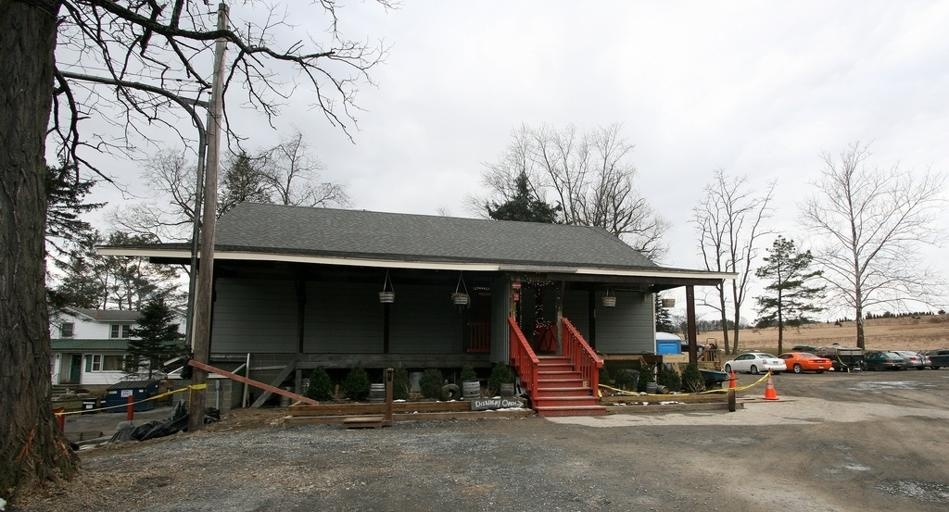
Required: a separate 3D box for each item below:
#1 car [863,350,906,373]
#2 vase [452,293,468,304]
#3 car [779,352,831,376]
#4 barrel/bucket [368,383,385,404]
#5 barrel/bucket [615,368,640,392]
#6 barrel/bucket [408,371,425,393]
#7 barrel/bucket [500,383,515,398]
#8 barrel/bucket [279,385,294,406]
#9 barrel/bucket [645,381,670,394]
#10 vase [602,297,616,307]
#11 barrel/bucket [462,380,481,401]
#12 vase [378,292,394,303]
[{"bbox_3d":[23.474,6.138,36.716,1.147,0.669,2.357,-2,-1,8],"label":"car"},{"bbox_3d":[-0.468,1.518,22.443,0.561,0.326,0.397,3,-4,-45],"label":"vase"},{"bbox_3d":[18.304,6.009,35.742,1.260,0.656,2.432,0,-4,-5],"label":"car"},{"bbox_3d":[-3.136,4.503,20.884,0.632,0.456,0.586,1,-9,0],"label":"barrel/bucket"},{"bbox_3d":[5.376,4.393,22.632,0.852,0.553,0.844,5,-6,1],"label":"barrel/bucket"},{"bbox_3d":[-2.127,4.570,23.305,0.474,0.654,0.613,1,5,-4],"label":"barrel/bucket"},{"bbox_3d":[1.117,4.404,21.048,0.453,0.329,0.425,-1,-10,0],"label":"barrel/bucket"},{"bbox_3d":[-6.400,4.814,21.961,0.394,0.591,1.250,-1,5,-16],"label":"barrel/bucket"},{"bbox_3d":[6.425,4.693,22.637,0.635,0.251,0.378,0,-9,25],"label":"barrel/bucket"},{"bbox_3d":[5.138,1.741,24.530,0.486,0.237,0.452,-1,-9,6],"label":"vase"},{"bbox_3d":[0.031,4.452,21.368,0.622,0.514,0.594,0,-8,0],"label":"barrel/bucket"},{"bbox_3d":[-3.034,1.448,22.259,0.502,0.431,0.487,1,-7,-5],"label":"vase"}]
